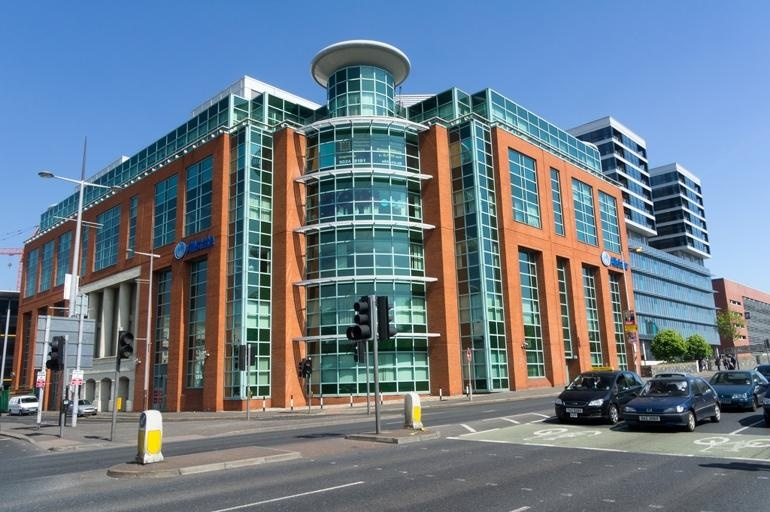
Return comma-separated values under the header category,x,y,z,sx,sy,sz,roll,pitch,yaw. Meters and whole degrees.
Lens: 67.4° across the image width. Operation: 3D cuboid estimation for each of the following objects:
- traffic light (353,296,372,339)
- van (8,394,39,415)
category,x,y,z,sx,sy,sz,roll,pitch,yaw
traffic light,-0.911,2.385,22.940,0.773,1.783,0.544,8,-21,-30
van,-35.805,14.630,57.082,4.147,1.674,1.179,-15,-22,39
